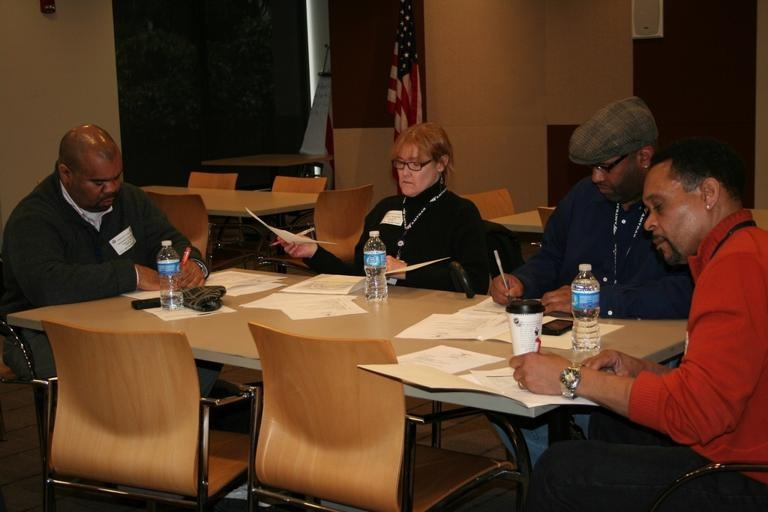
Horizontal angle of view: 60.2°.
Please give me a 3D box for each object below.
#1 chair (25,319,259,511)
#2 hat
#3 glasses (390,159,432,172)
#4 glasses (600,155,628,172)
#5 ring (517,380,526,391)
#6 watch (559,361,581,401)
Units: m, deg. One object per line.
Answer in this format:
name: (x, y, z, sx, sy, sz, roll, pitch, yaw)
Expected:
chair: (-0.887, 0.542, 2.777, 0.719, 1.030, 0.734, 1, 4, 17)
hat: (1.069, -0.577, 3.059, 0.371, 0.201, 0.280, -14, 17, -17)
glasses: (0.143, -0.492, 3.592, 0.226, 0.063, 0.090, 1, 11, 19)
glasses: (1.039, -0.420, 2.993, 0.078, 0.023, 0.076, -33, 9, -20)
ring: (0.449, 0.425, 2.173, 0.022, 0.024, 0.012, -40, 11, 30)
watch: (0.590, 0.397, 2.098, 0.065, 0.112, 0.104, 5, 6, 22)
